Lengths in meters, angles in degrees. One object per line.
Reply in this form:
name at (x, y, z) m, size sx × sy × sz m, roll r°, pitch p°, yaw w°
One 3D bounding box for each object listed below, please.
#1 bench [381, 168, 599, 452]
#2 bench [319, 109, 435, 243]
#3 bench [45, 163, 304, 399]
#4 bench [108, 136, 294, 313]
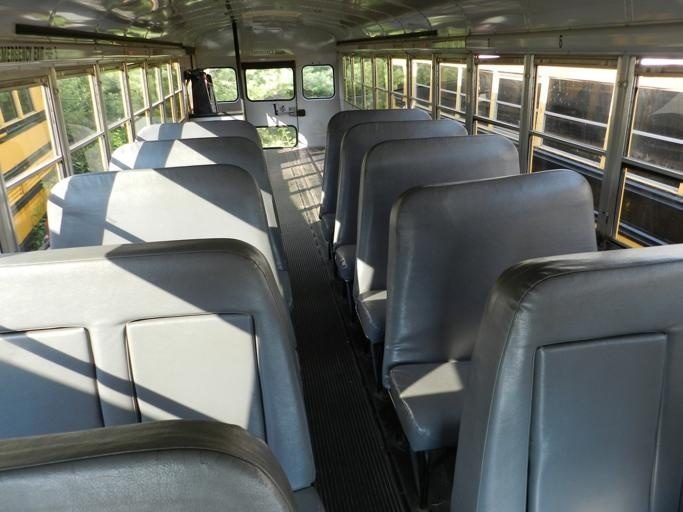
bench at (0.825, 0.286, 2.288) m, size 1.251 × 1.205 × 0.702 m, roll -5°, pitch 20°, yaw -8°
bench at (0.176, -0.697, 4.858) m, size 0.979 × 1.137 × 0.934 m, roll 2°, pitch 25°, yaw 17°
bench at (-1.079, 0.122, 2.937) m, size 1.406 × 0.781 × 1.028 m, roll -5°, pitch 62°, yaw -7°
bench at (-1.152, -0.241, 4.210) m, size 1.427 × 1.515 × 1.309 m, roll -1°, pitch 6°, yaw 3°
